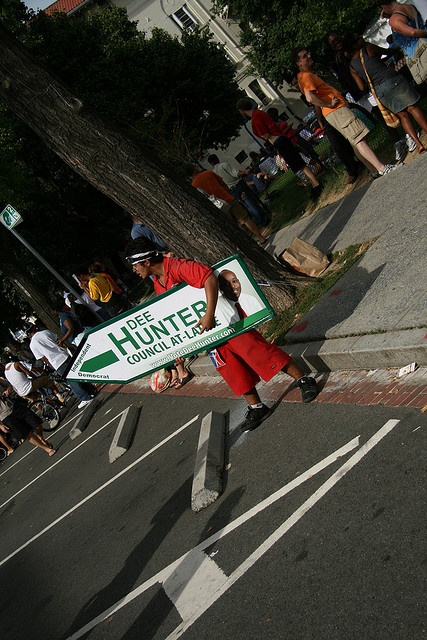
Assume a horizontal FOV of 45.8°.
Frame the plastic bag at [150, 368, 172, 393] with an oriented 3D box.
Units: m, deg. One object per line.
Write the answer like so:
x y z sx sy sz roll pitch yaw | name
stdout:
-0.893 0.986 8.102 0.212 0.381 0.559 5 -22 -31 | plastic bag

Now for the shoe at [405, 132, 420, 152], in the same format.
2.703 -2.441 6.969 0.120 0.216 0.587 -36 10 27 | shoe

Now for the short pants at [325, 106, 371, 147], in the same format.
1.804 -2.635 6.819 0.356 0.514 0.375 -35 12 29 | short pants

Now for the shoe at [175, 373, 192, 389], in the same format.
-0.456 0.927 7.799 0.308 0.095 0.123 -44 15 5 | shoe

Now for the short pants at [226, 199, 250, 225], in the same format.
0.447 -2.057 9.630 0.283 0.509 0.378 -39 11 12 | short pants

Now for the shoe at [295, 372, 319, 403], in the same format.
0.806 0.590 4.394 0.112 0.136 0.298 -39 13 18 | shoe

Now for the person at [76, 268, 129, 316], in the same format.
-2.277 -0.597 10.281 0.488 1.242 0.939 -43 11 -6 | person

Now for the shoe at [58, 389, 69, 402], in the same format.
-3.873 1.931 13.112 0.171 0.137 0.398 66 -137 -61 | shoe

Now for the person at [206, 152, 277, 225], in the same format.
0.627 -2.870 11.032 0.617 1.986 0.665 -52 19 -26 | person

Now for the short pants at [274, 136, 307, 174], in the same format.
1.451 -3.184 9.689 0.380 0.726 0.352 -34 13 34 | short pants

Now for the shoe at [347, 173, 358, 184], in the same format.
2.285 -2.321 8.313 0.196 0.082 0.065 -47 -6 -14 | shoe

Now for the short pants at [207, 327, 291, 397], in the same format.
0.282 0.358 4.538 0.509 0.626 0.357 -38 -37 10 | short pants

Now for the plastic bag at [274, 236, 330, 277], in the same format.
1.139 -0.804 6.549 0.425 0.610 0.188 -57 -27 13 | plastic bag

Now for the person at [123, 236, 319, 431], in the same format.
0.037 0.047 4.422 0.995 2.030 0.604 -32 16 -6 | person
